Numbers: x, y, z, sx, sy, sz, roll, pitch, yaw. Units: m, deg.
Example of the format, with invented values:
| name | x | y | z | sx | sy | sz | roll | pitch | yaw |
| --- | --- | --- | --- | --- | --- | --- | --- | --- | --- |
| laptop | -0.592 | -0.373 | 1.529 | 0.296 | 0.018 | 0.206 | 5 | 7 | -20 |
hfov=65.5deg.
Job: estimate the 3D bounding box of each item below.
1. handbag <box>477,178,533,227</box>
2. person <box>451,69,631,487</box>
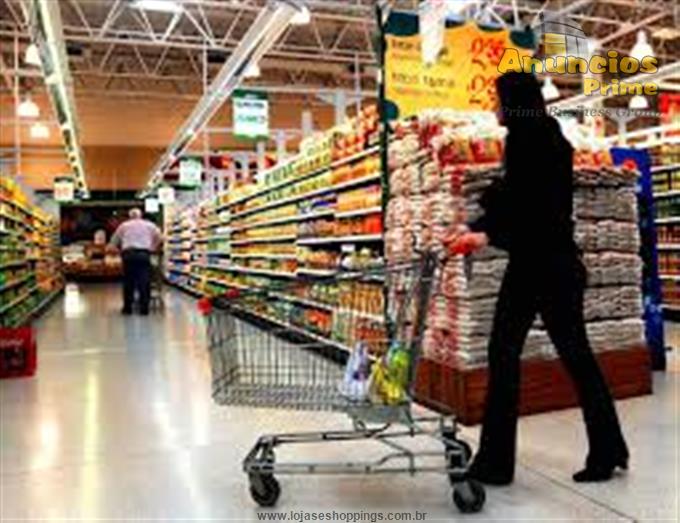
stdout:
| name | x | y | z | sx | sy | sz | roll | pitch | yaw |
| --- | --- | --- | --- | --- | --- | --- | --- | --- | --- |
| handbag | 0.804 | -0.263 | 2.592 | 0.289 | 0.265 | 0.181 | 0 | 4 | 15 |
| person | 0.980 | 0.100 | 2.646 | 0.822 | 2.099 | 0.193 | -3 | 3 | -6 |
